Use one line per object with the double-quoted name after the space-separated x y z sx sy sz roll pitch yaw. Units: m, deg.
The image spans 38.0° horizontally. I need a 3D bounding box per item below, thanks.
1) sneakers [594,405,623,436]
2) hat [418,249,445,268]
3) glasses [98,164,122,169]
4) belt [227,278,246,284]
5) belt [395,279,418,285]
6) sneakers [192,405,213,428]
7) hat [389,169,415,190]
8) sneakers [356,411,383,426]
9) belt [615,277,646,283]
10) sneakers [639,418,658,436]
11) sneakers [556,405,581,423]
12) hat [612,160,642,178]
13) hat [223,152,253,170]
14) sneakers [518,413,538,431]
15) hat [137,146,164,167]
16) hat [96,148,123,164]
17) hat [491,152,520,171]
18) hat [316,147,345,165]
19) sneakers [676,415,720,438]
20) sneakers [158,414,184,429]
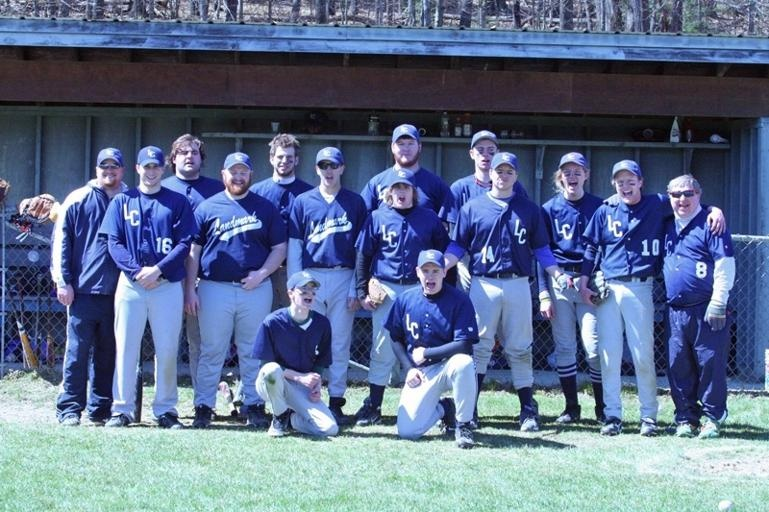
2.418 1.830 11.989 0.139 0.271 0.409 -9 -31 19 "sneakers"
0.475 0.020 11.698 0.286 0.181 0.298 2 11 1 "hat"
-2.964 -0.968 12.020 0.205 0.043 0.054 -2 12 -16 "glasses"
-1.577 0.281 11.918 0.135 0.070 0.022 4 12 13 "belt"
0.242 0.285 12.071 0.202 0.075 0.036 0 11 -7 "belt"
-1.947 1.706 11.849 0.202 0.207 0.261 -1 11 -11 "sneakers"
0.173 -0.838 12.112 0.284 0.196 0.308 2 11 1 "hat"
-0.149 1.751 12.114 0.355 0.147 0.159 -5 13 -30 "sneakers"
2.649 0.249 12.056 0.318 0.072 0.053 2 11 0 "belt"
2.807 1.829 11.918 0.184 0.144 0.208 4 11 13 "sneakers"
2.053 1.784 12.488 0.373 0.151 0.121 7 -11 -39 "sneakers"
2.609 -0.942 12.097 0.278 0.169 0.207 4 12 13 "hat"
-1.604 -1.041 12.077 0.317 0.267 0.449 1 8 -8 "hat"
1.552 1.803 12.044 0.218 0.152 0.240 3 11 7 "sneakers"
-2.504 -1.059 11.885 0.215 0.166 0.308 1 4 -19 "hat"
-2.988 -1.083 12.128 0.240 0.169 0.341 0 11 -9 "hat"
1.276 -1.028 12.107 0.272 0.174 0.332 2 11 1 "hat"
-0.598 -1.114 12.315 0.282 0.191 0.378 0 -12 6 "hat"
3.309 1.825 11.869 0.399 0.160 0.221 6 -6 -11 "sneakers"
-2.272 1.748 11.801 0.267 0.109 0.136 -1 -2 8 "sneakers"
